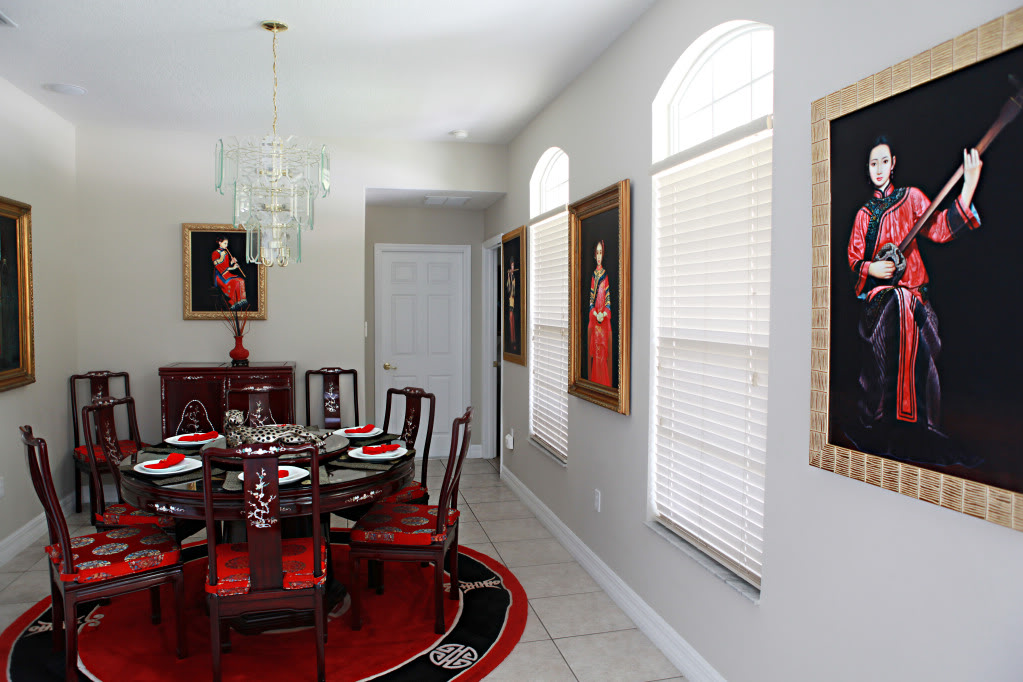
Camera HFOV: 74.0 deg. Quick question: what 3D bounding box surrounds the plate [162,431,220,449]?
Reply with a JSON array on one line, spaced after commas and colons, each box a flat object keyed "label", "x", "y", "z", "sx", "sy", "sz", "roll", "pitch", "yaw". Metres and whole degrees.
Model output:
[{"label": "plate", "x": -2.207, "y": 0.688, "z": 4.673, "sx": 0.267, "sy": 0.038, "sz": 0.273, "roll": -1, "pitch": -2, "yaw": 8}]

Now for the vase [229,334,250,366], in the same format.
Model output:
[{"label": "vase", "x": -2.422, "y": 0.088, "z": 6.010, "sx": 0.133, "sy": 0.249, "sz": 0.253, "roll": -3, "pitch": 8, "yaw": -20}]

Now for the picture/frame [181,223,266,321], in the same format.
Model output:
[{"label": "picture/frame", "x": -2.574, "y": -0.615, "z": 5.942, "sx": 0.856, "sy": 1.024, "sz": 0.075, "roll": 0, "pitch": -1, "yaw": -16}]
